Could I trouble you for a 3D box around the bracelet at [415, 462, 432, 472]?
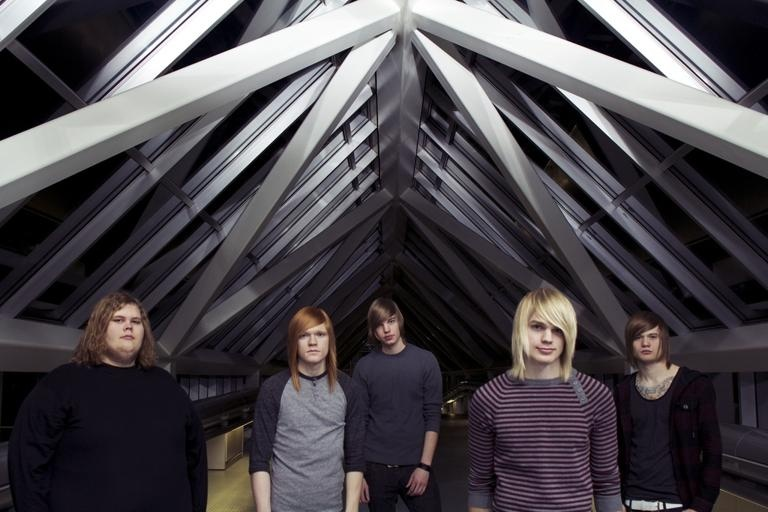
[{"bbox_3d":[0.417,2.151,5.531,0.108,0.045,0.106,27,-18,-27],"label":"bracelet"}]
